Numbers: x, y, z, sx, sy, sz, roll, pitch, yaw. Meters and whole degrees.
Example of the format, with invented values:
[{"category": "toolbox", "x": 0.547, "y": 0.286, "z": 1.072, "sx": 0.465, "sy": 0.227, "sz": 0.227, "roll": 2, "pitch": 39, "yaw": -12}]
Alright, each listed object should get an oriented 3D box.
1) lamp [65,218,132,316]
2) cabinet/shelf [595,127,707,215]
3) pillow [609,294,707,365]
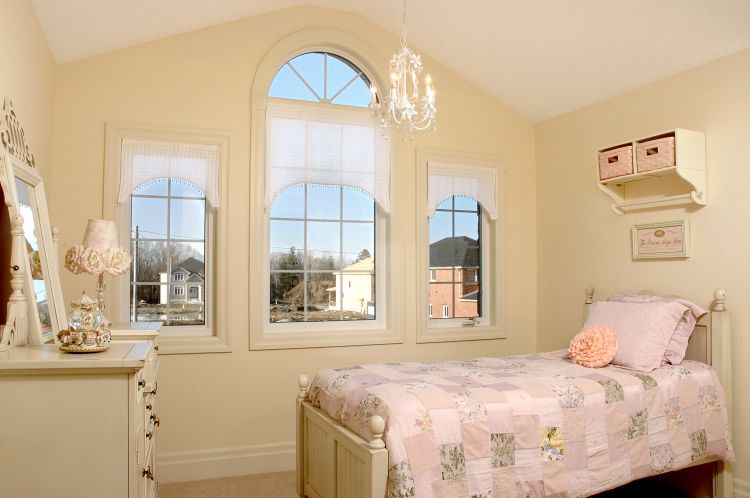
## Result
[{"category": "lamp", "x": -1.776, "y": 0.093, "z": 3.459, "sx": 0.424, "sy": 0.592, "sz": 0.300, "roll": -3, "pitch": -4, "yaw": 35}, {"category": "cabinet/shelf", "x": 2.368, "y": -0.662, "z": 4.714, "sx": 0.401, "sy": 0.621, "sz": 0.828, "roll": 2, "pitch": -4, "yaw": -39}, {"category": "pillow", "x": 2.434, "y": 0.684, "z": 4.388, "sx": 0.151, "sy": 0.525, "sz": 0.509, "roll": 20, "pitch": 3, "yaw": -43}]
